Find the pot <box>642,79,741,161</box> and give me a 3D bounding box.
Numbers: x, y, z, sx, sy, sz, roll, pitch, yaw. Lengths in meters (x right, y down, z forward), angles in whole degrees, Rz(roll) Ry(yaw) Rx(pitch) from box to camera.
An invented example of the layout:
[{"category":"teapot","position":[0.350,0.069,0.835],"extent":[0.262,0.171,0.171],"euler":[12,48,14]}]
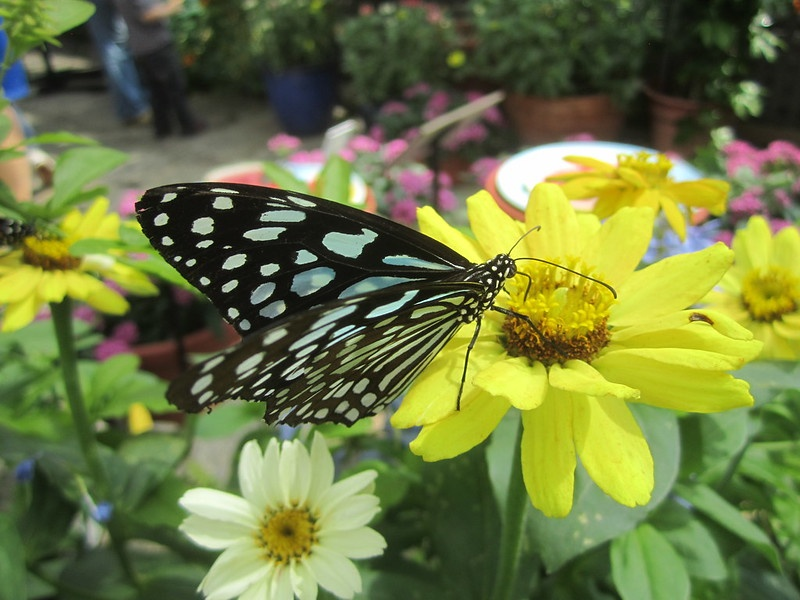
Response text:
[{"category":"pot","position":[0.367,-0.243,1.079],"extent":[0.112,0.069,0.101],"euler":[-9,26,-20]}]
